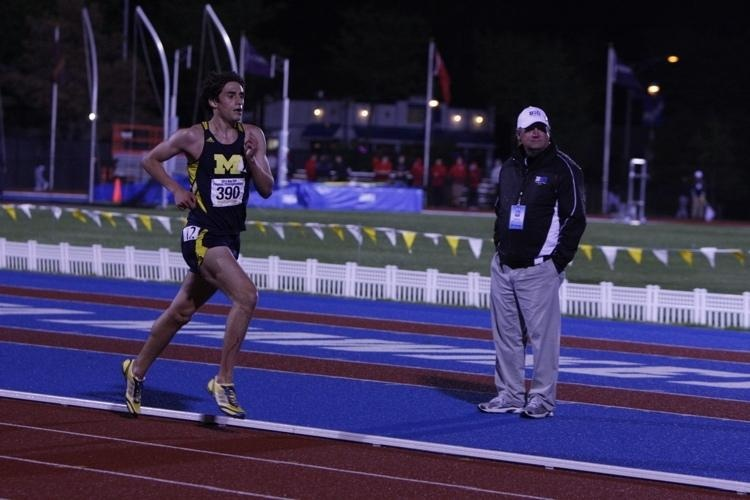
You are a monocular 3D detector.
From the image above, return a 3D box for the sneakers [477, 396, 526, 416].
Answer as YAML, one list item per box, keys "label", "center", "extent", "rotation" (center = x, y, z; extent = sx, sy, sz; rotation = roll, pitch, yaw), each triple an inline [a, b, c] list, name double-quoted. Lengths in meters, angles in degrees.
- label: "sneakers"
  center: [1.690, 2.056, 15.588]
  extent: [0.601, 0.257, 0.235]
  rotation: [3, -2, -1]

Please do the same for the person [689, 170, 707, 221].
- label: "person"
  center: [6.627, -1.128, 23.923]
  extent: [0.352, 1.089, 1.507]
  rotation: [5, 8, 16]

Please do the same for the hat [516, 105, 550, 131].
- label: "hat"
  center: [2.121, -1.741, 15.581]
  extent: [0.423, 0.298, 0.396]
  rotation: [4, 8, 7]

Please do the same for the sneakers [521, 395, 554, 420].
- label: "sneakers"
  center: [2.142, 2.069, 15.432]
  extent: [0.209, 0.221, 0.518]
  rotation: [3, 1, 27]
